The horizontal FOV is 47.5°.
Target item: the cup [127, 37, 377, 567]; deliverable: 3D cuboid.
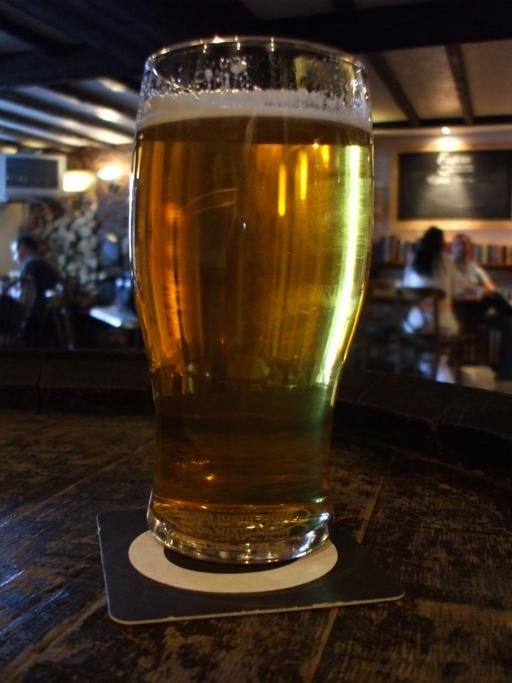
[{"bbox_3d":[-0.005,-0.027,0.341,0.133,0.279,0.063,1,0,5],"label":"cup"}]
